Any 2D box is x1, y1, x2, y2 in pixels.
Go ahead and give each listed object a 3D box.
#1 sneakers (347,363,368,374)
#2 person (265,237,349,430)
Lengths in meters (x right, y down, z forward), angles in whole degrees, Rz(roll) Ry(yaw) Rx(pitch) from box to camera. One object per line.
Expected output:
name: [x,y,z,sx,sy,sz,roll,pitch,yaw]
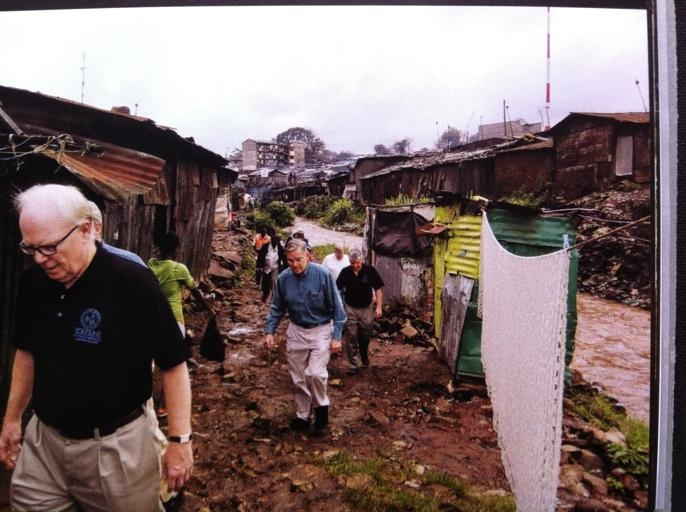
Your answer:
sneakers: [0.236,1.853,8.524,0.414,0.133,0.180,-5,-16,30]
person: [-0.489,1.004,6.421,0.912,2.385,0.568,6,11,17]
